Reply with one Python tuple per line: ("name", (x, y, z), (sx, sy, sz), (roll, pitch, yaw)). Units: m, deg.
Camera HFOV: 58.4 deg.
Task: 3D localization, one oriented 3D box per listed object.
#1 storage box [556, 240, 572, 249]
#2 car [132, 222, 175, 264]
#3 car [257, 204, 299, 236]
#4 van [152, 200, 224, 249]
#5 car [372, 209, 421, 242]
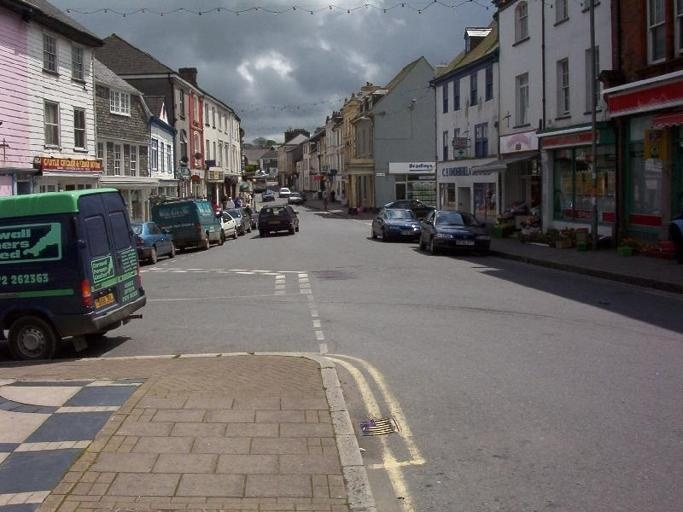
("storage box", (7.847, -0.420, 21.668), (0.312, 0.261, 0.328), (-1, 4, -5))
("car", (-7.210, -0.573, 23.362), (1.110, 1.130, 2.936), (0, 6, 2))
("car", (-3.696, -2.135, 35.979), (1.375, 1.116, 2.528), (-1, 11, 0))
("van", (-6.948, -1.611, 28.944), (1.667, 1.603, 3.088), (-1, 5, 9))
("car", (2.606, -1.467, 29.534), (2.005, 1.473, 2.855), (-3, 9, -6))
